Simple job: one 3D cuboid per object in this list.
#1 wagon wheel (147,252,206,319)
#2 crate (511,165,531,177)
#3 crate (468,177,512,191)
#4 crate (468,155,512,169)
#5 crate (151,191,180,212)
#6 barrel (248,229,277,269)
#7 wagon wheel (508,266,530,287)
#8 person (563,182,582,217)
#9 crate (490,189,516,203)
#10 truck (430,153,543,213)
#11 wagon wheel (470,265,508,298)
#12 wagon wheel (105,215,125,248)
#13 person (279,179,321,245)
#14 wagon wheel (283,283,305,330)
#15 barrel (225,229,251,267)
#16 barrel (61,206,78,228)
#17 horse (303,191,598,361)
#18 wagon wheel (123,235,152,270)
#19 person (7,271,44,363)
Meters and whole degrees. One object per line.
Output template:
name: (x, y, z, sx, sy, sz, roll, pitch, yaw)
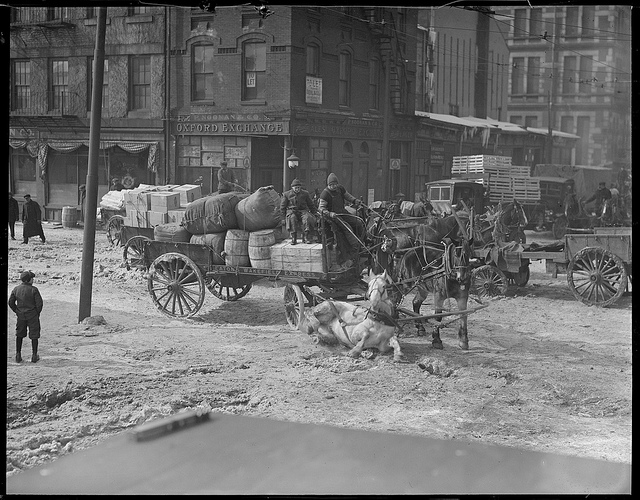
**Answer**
wagon wheel: (-3.542, 1.108, 21.856, 1.332, 1.965, 1.388, 1, 10, 0)
crate: (9.035, -3.491, 38.986, 0.820, 0.431, 1.374, 3, 12, 12)
crate: (7.779, -2.913, 38.614, 1.620, 0.588, 1.106, 4, 12, 15)
crate: (7.803, -4.022, 40.048, 2.393, 0.626, 0.964, 12, 17, 44)
crate: (-4.691, -1.463, 26.145, 0.601, 0.442, 0.654, 1, 4, 8)
barrel: (-1.424, -0.082, 20.693, 0.643, 1.042, 0.733, -4, 21, -4)
wagon wheel: (5.744, 0.785, 25.028, 0.576, 0.760, 0.751, 3, 12, 12)
person: (10.870, -2.133, 37.426, 0.815, 1.337, 2.000, -2, 29, 10)
crate: (8.054, -2.360, 38.291, 0.478, 0.613, 1.532, -6, 13, -28)
truck: (6.901, -2.473, 37.588, 4.156, 2.182, 2.535, 2, 2, -34)
wagon wheel: (4.626, 0.825, 23.622, 0.716, 0.820, 0.199, 4, 12, 21)
wagon wheel: (-7.069, -0.669, 29.831, 0.580, 1.176, 1.446, -4, 12, -17)
person: (-0.516, -0.923, 20.374, 0.909, 1.565, 0.955, -3, 2, 18)
wagon wheel: (-0.576, 1.297, 20.224, 0.267, 1.127, 0.845, -5, 13, -24)
barrel: (-1.880, -0.171, 20.939, 0.592, 0.961, 0.662, 19, 34, 28)
barrel: (-10.364, -1.341, 35.419, 0.691, 1.084, 0.729, 1, 2, 0)
horse: (2.351, 0.427, 20.336, 6.043, 2.509, 1.109, 7, -6, -30)
wagon wheel: (-5.232, 0.063, 24.868, 0.843, 0.965, 0.249, 3, 14, 21)
person: (-6.102, 1.424, 17.967, 0.669, 2.028, 0.466, 7, 14, 32)
